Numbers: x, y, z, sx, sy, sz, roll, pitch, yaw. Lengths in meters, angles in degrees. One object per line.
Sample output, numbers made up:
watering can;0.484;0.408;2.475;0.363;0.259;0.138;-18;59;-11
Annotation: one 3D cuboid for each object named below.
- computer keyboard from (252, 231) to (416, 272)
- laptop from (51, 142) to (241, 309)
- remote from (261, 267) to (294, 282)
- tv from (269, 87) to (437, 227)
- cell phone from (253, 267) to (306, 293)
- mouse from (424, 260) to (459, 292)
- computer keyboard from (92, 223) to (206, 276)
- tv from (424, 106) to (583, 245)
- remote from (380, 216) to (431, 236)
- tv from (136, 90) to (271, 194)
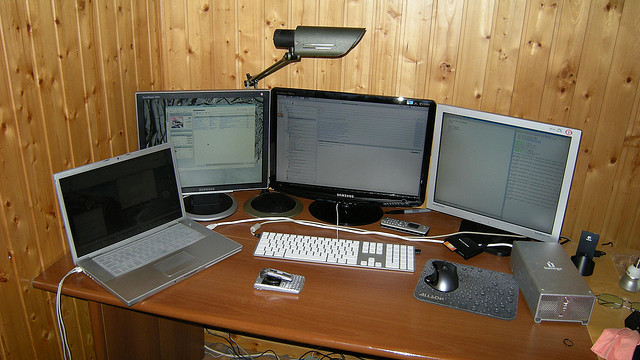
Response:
computer keyboard;0.079;0.351;2.172;0.848;0.200;0.077;6;20;2
laptop;-0.798;0.189;2.023;0.607;0.420;0.663;21;30;26
remote;-0.212;0.452;2.006;0.128;0.027;0.062;8;18;2
tv;0.175;-0.127;2.348;0.813;0.551;0.290;6;21;9
cell phone;-0.205;0.485;1.997;0.193;0.051;0.108;6;34;9
mouse;0.588;0.519;2.081;0.176;0.206;0.054;-12;56;4
computer keyboard;-0.873;0.350;2.095;0.208;0.017;0.432;25;34;37
tv;1.022;-0.073;2.316;0.286;0.634;0.778;-21;27;-34
remote;0.478;0.261;2.345;0.248;0.037;0.104;10;26;18
tv;-0.665;-0.230;2.291;0.673;0.445;0.105;-2;10;-11
